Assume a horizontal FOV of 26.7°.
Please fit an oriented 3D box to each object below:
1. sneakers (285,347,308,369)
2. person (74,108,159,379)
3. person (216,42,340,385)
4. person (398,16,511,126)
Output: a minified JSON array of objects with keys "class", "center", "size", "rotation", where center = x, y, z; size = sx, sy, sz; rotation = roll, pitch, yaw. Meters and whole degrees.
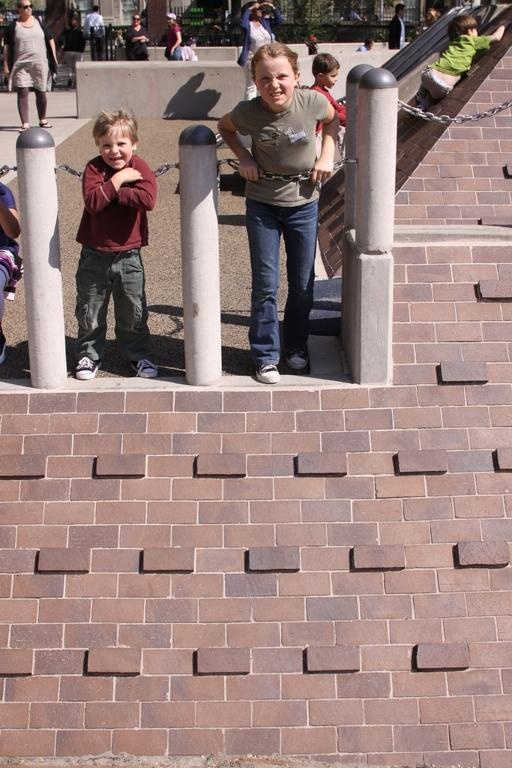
[{"class":"sneakers","center":[0.186,-0.118,4.844],"size":[0.097,0.080,0.214],"rotation":[-1,4,-1]},{"class":"person","center":[-0.626,-0.593,4.697],"size":[0.393,1.179,0.475],"rotation":[-2,21,-5]},{"class":"person","center":[0.127,-0.720,4.640],"size":[0.494,1.444,0.643],"rotation":[-3,21,-6]},{"class":"person","center":[1.534,-2.395,8.012],"size":[0.645,0.680,0.541],"rotation":[2,20,6]}]
